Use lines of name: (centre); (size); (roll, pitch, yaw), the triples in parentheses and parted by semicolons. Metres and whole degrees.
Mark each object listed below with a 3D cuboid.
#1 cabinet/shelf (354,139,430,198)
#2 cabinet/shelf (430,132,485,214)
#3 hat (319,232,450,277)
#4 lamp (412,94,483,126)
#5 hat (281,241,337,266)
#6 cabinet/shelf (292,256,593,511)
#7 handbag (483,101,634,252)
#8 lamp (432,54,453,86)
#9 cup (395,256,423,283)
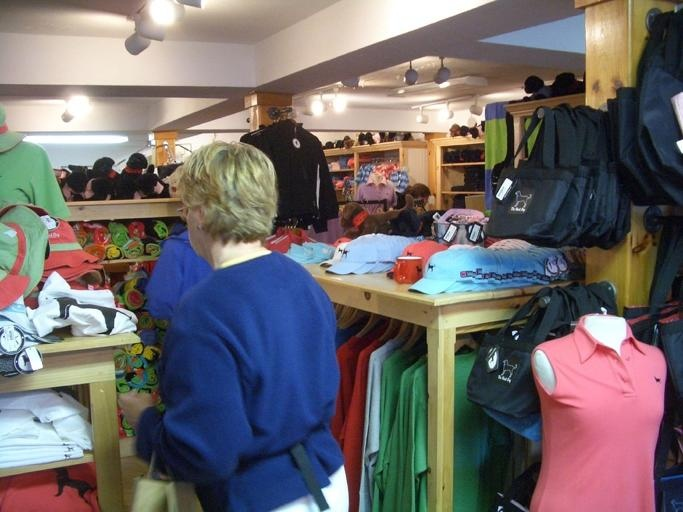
cabinet/shelf: (1.009, -1.640, 8.822); (0.645, 1.602, 1.610); (-3, 5, -40)
cabinet/shelf: (2.348, -1.650, 9.395); (0.676, 1.398, 1.312); (-9, 11, -24)
hat: (0.166, -0.010, 2.853); (0.486, 0.166, 0.310); (-10, 9, -25)
lamp: (2.330, -3.151, 10.456); (1.555, 0.513, 3.097); (-3, 10, 11)
hat: (-0.193, -0.020, 3.317); (0.201, 0.062, 0.201); (-11, 18, -42)
cabinet/shelf: (0.493, 0.398, 2.748); (1.057, 1.281, 1.287); (-4, 8, -33)
handbag: (0.963, -0.332, 2.104); (0.676, 0.665, 0.339); (-10, 11, -27)
lamp: (1.386, -2.526, 6.521); (0.197, 0.435, 1.536); (-3, 11, 13)
cup: (0.340, 0.069, 2.452); (0.101, 0.110, 0.154); (7, 10, 37)
